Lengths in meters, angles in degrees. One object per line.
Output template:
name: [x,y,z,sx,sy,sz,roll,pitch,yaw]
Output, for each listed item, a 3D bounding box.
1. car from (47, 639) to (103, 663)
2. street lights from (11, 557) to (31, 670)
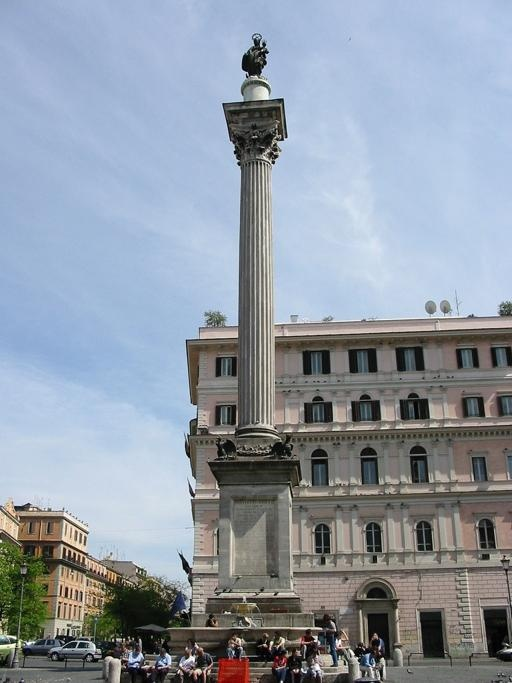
car: [-12.660,21.794,56.875,3.418,1.307,1.845,7,-21,-12]
street lights: [-14.278,16.403,48.968,0.958,6.285,0.879,9,-21,-25]
